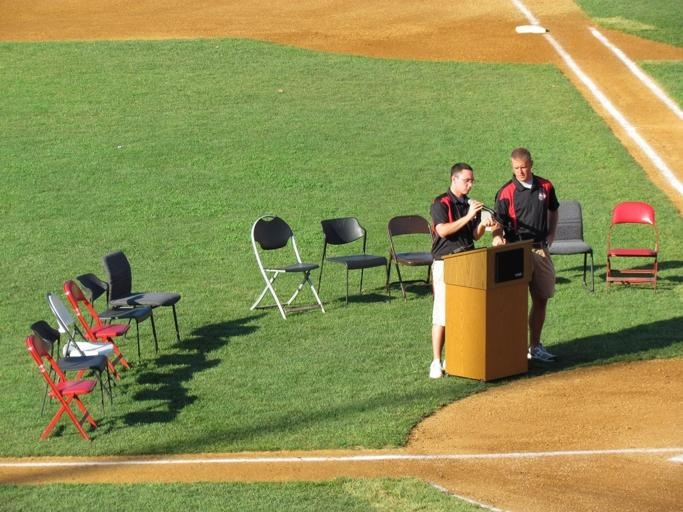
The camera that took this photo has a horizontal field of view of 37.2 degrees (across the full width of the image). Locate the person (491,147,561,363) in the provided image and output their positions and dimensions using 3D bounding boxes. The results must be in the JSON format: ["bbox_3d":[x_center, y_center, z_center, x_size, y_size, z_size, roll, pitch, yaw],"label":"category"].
[{"bbox_3d":[3.050,-0.010,16.669,0.972,3.474,0.680,1,16,12],"label":"person"}]

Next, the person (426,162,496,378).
[{"bbox_3d":[1.837,0.221,16.438,1.016,3.367,1.113,6,18,27],"label":"person"}]

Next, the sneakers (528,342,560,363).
[{"bbox_3d":[3.387,1.625,16.866,0.553,0.273,0.216,4,2,11],"label":"sneakers"}]

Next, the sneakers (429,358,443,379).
[{"bbox_3d":[1.545,1.851,16.511,0.172,0.144,0.327,1,19,2],"label":"sneakers"}]
